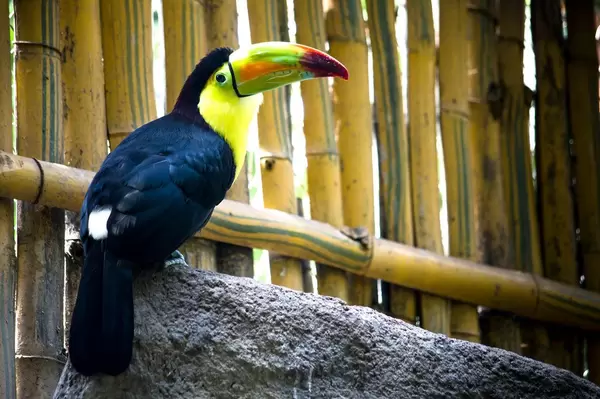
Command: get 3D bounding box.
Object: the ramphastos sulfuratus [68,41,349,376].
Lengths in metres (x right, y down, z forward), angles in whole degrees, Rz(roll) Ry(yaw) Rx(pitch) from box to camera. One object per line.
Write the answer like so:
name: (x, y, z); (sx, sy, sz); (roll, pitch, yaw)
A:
ramphastos sulfuratus: (-0.932, 0.111, 12.510); (1.044, 2.517, 2.650); (-9, -9, 34)
